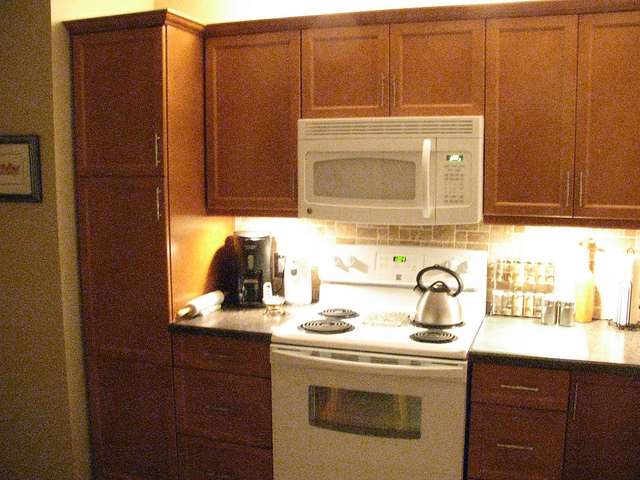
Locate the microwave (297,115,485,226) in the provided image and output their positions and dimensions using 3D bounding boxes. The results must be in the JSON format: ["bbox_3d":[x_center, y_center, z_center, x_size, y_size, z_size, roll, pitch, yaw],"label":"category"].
[{"bbox_3d":[0.368,-0.324,2.938,0.956,0.769,0.757,2,26,16],"label":"microwave"}]

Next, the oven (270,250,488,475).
[{"bbox_3d":[0.300,0.615,3.051,1.169,1.666,1.090,1,4,17],"label":"oven"}]

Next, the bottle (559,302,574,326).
[{"bbox_3d":[1.270,0.380,2.779,0.065,0.116,0.033,2,4,16],"label":"bottle"}]
